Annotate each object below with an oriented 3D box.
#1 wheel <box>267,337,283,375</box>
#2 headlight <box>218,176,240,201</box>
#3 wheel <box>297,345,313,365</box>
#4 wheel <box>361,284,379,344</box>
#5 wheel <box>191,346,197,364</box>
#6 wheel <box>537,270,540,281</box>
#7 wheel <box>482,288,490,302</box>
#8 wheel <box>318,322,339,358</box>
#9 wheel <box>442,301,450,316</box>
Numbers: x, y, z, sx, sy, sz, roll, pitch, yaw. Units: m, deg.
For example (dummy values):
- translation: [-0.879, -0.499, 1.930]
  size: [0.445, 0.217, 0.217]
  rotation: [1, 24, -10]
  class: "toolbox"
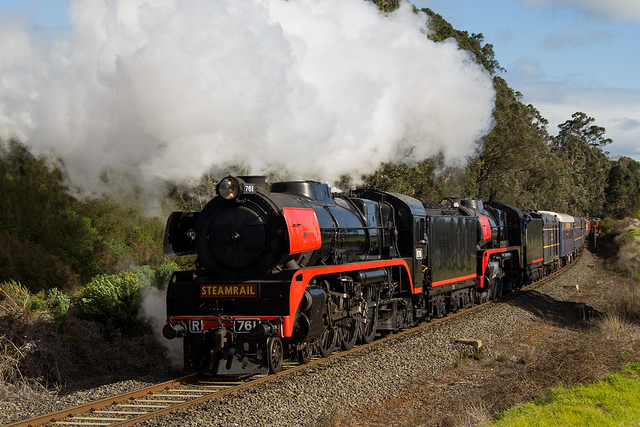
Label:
- translation: [-0.949, 2.979, 10.780]
  size: [0.123, 0.842, 0.494]
  rotation: [3, 5, 24]
  class: "wheel"
- translation: [-1.964, -0.535, 11.035]
  size: [0.486, 0.536, 0.176]
  rotation: [3, 5, 23]
  class: "headlight"
- translation: [-0.352, 3.203, 11.621]
  size: [0.116, 0.428, 0.410]
  rotation: [-5, -29, 27]
  class: "wheel"
- translation: [1.370, 2.668, 13.693]
  size: [0.333, 1.271, 1.230]
  rotation: [3, 1, 8]
  class: "wheel"
- translation: [-2.733, 3.085, 11.059]
  size: [0.066, 0.327, 0.092]
  rotation: [-2, 0, 10]
  class: "wheel"
- translation: [11.751, 3.281, 27.437]
  size: [0.049, 0.512, 0.486]
  rotation: [4, 6, 31]
  class: "wheel"
- translation: [6.707, 3.311, 20.644]
  size: [0.360, 0.424, 0.397]
  rotation: [0, 7, 15]
  class: "wheel"
- translation: [0.177, 2.975, 12.156]
  size: [0.104, 0.838, 0.712]
  rotation: [15, 36, 29]
  class: "wheel"
- translation: [4.344, 3.248, 17.582]
  size: [0.178, 0.537, 0.921]
  rotation: [3, 5, 20]
  class: "wheel"
